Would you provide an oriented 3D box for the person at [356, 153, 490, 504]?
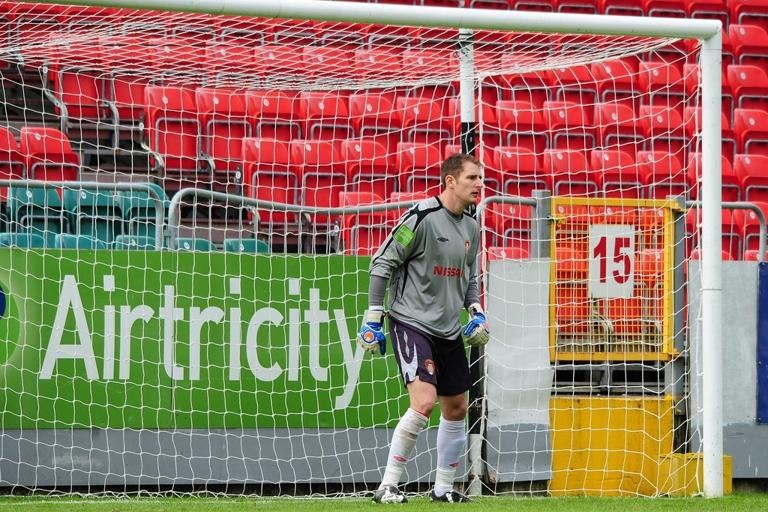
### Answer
[{"bbox_3d":[0.353,0.640,12.271,0.998,3.022,0.624,0,-10,-2],"label":"person"}]

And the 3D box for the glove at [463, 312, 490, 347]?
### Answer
[{"bbox_3d":[0.835,0.635,12.583,0.249,0.179,0.456,7,32,-6],"label":"glove"}]

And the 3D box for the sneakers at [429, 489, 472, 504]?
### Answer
[{"bbox_3d":[0.572,2.123,12.324,0.346,0.146,0.129,-1,0,4],"label":"sneakers"}]

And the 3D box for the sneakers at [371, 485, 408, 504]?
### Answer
[{"bbox_3d":[0.035,2.091,12.125,0.270,0.127,0.136,0,-7,10],"label":"sneakers"}]
